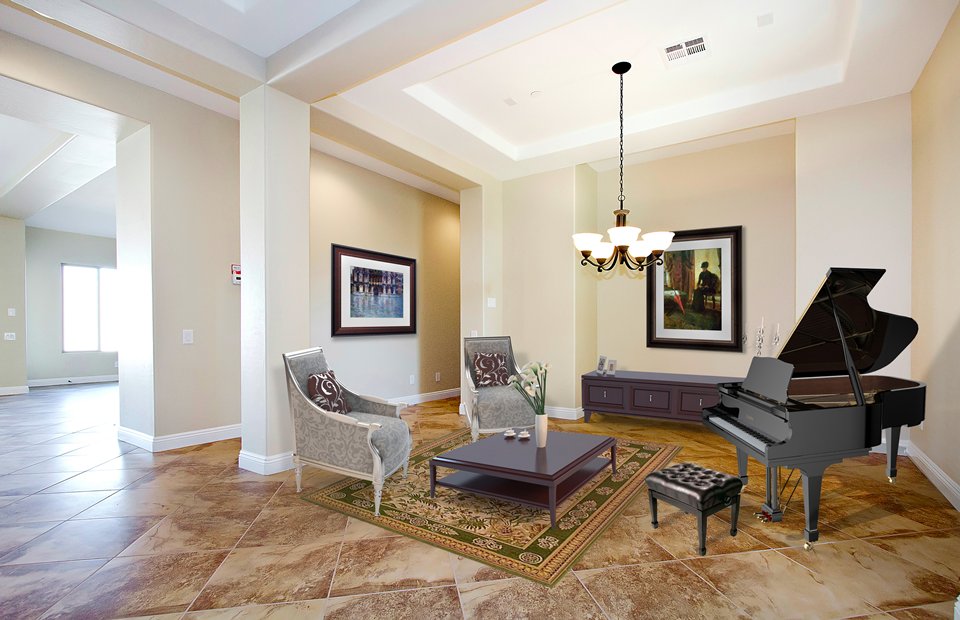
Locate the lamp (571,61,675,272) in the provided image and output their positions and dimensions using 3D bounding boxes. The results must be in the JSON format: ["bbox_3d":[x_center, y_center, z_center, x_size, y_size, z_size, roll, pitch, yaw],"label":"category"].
[{"bbox_3d":[1.827,-1.658,7.738,1.346,2.342,2.712,-1,1,17],"label":"lamp"}]

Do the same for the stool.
[{"bbox_3d":[2.090,1.869,5.703,0.693,0.597,0.784,-8,7,-39],"label":"stool"}]

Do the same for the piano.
[{"bbox_3d":[3.408,0.874,5.873,1.850,2.523,1.158,-2,1,-22],"label":"piano"}]

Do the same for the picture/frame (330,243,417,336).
[{"bbox_3d":[-1.683,-0.319,8.987,0.059,1.108,1.424,-4,-7,39],"label":"picture/frame"}]

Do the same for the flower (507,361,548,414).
[{"bbox_3d":[0.552,0.833,6.445,0.339,0.519,0.678,-1,1,10],"label":"flower"}]

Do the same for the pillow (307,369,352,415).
[{"bbox_3d":[-1.701,0.914,6.556,0.226,0.417,0.463,-9,-8,23],"label":"pillow"}]
